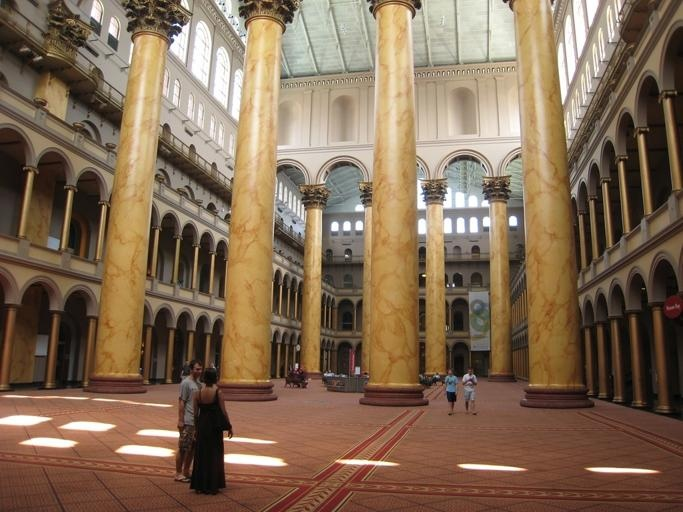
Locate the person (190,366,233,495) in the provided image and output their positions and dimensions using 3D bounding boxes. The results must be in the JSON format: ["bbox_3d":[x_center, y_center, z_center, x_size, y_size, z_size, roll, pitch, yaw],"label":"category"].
[{"bbox_3d":[-1.277,1.680,4.693,0.364,1.109,0.417,3,-12,-15],"label":"person"}]

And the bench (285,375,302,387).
[{"bbox_3d":[-2.329,6.040,23.263,0.843,0.585,1.793,1,-12,-6],"label":"bench"}]
